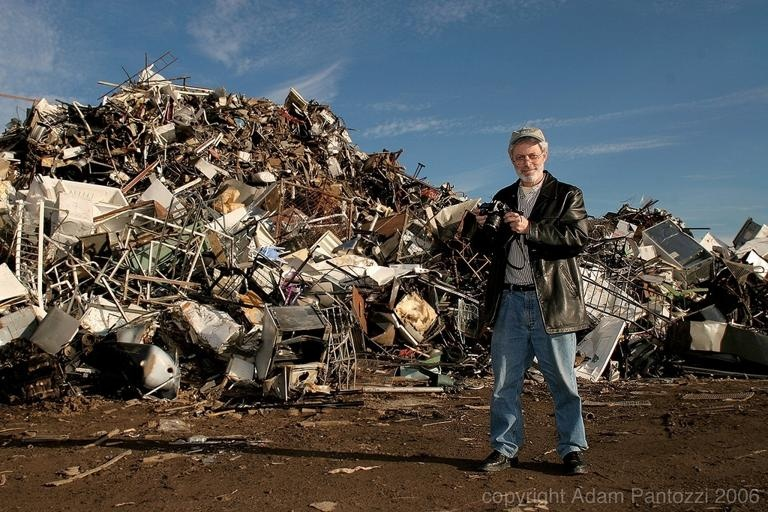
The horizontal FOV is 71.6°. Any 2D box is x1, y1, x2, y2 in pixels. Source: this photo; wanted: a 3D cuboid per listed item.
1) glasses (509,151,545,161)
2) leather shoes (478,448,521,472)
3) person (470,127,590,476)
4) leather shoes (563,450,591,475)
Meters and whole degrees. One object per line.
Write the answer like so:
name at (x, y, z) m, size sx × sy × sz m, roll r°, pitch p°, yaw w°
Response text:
glasses at (1.215, -0.839, 4.504) m, size 0.172 × 0.048 × 0.172 m, roll -2°, pitch -1°, yaw 23°
leather shoes at (0.947, 1.719, 4.540) m, size 0.386 × 0.151 × 0.141 m, roll 6°, pitch -8°, yaw -25°
person at (1.222, 0.357, 4.518) m, size 0.938 × 2.846 × 0.614 m, roll -1°, pitch 3°, yaw 19°
leather shoes at (1.587, 1.678, 4.400) m, size 0.222 × 0.194 × 0.162 m, roll -1°, pitch 3°, yaw 8°
